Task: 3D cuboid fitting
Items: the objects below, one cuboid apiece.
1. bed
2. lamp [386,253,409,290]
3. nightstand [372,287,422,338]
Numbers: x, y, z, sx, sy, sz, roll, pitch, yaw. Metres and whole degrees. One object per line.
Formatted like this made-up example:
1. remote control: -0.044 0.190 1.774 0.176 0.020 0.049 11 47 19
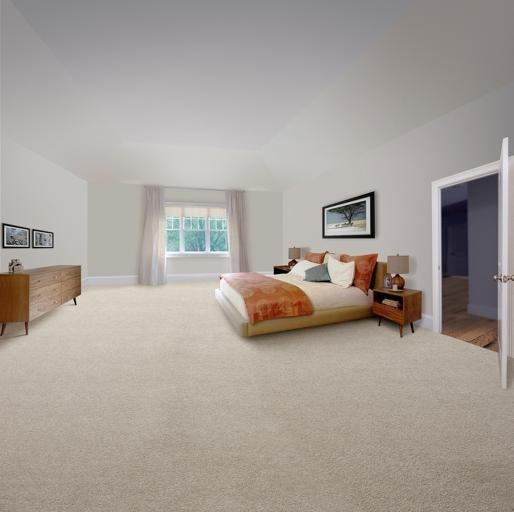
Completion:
1. bed: 0.444 0.565 4.060 1.068 0.424 1.186 1 0 -16
2. lamp: 1.587 0.165 4.105 0.236 0.391 0.425 5 14 23
3. nightstand: 1.582 0.527 4.138 0.403 0.616 0.647 0 -2 -21
